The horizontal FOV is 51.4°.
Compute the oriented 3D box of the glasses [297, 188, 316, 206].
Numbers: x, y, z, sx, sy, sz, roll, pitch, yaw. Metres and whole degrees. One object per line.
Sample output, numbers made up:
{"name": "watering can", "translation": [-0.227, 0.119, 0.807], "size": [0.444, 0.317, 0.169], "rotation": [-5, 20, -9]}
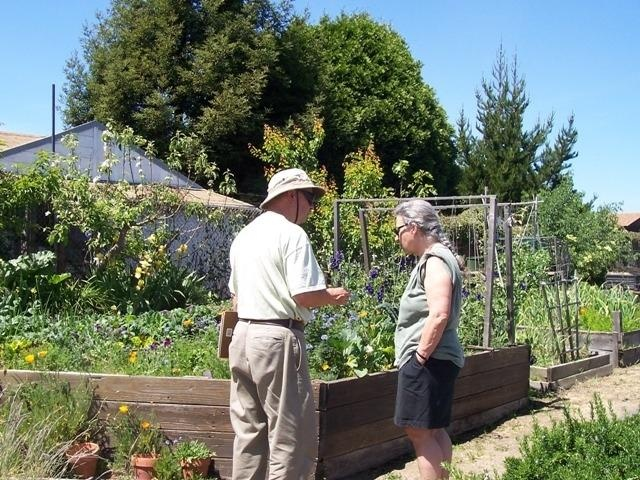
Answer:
{"name": "glasses", "translation": [-0.113, -0.348, 5.326], "size": [0.108, 0.037, 0.116], "rotation": [21, -15, 31]}

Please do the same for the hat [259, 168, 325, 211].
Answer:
{"name": "hat", "translation": [-0.207, -0.417, 5.291], "size": [0.330, 0.201, 0.328], "rotation": [11, -30, -33]}

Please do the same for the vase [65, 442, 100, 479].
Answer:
{"name": "vase", "translation": [-2.142, 2.001, 6.012], "size": [0.257, 0.265, 0.287], "rotation": [-1, -6, 1]}

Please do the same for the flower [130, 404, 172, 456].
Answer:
{"name": "flower", "translation": [-1.504, 1.820, 6.201], "size": [0.293, 0.416, 0.311], "rotation": [13, -17, -14]}
